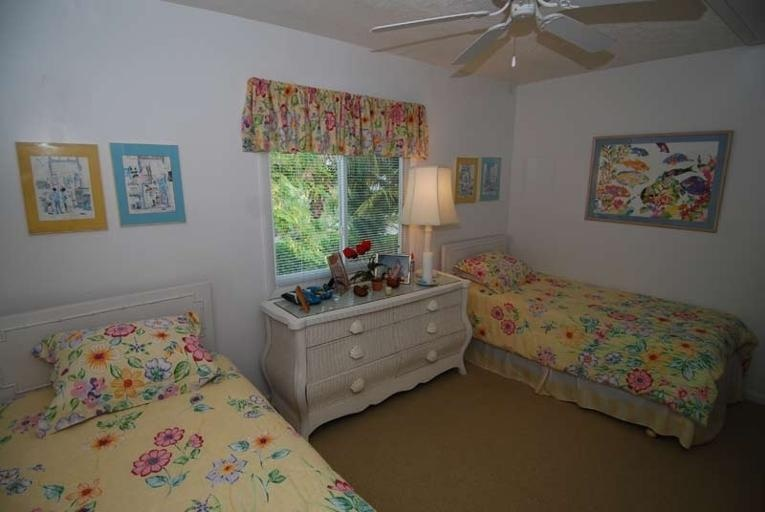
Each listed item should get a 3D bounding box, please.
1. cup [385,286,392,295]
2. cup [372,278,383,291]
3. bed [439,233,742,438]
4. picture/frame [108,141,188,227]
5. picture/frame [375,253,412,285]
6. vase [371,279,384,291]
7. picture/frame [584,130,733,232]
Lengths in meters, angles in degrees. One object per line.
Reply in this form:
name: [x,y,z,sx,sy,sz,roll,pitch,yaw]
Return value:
cup: [0.051,0.292,4.234,0.054,0.056,0.052,-1,13,0]
cup: [-0.037,0.243,4.311,0.097,0.076,0.101,0,14,0]
bed: [1.886,0.662,4.515,2.078,1.057,1.280,16,30,43]
picture/frame: [-1.723,-0.535,3.556,0.541,0.731,0.078,-10,15,-38]
picture/frame: [0.097,0.120,4.393,0.238,0.190,0.026,8,-7,12]
vase: [-0.047,0.252,4.321,0.095,0.072,0.096,-8,12,-39]
picture/frame: [2.637,-0.713,4.609,0.035,0.811,0.950,-13,17,-43]
